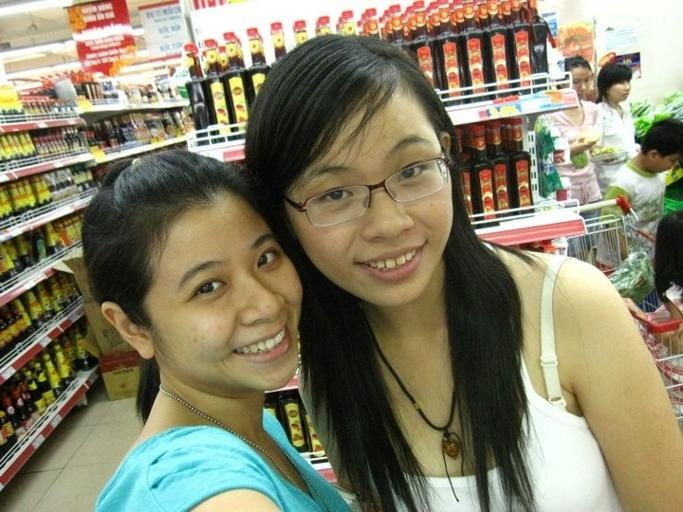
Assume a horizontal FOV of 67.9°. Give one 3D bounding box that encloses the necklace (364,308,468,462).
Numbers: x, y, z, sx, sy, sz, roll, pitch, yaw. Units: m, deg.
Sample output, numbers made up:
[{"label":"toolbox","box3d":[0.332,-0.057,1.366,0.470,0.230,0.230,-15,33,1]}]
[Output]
[{"label":"necklace","box3d":[0.203,0.391,1.495,0.124,0.401,0.057,-18,-20,-40]}]
